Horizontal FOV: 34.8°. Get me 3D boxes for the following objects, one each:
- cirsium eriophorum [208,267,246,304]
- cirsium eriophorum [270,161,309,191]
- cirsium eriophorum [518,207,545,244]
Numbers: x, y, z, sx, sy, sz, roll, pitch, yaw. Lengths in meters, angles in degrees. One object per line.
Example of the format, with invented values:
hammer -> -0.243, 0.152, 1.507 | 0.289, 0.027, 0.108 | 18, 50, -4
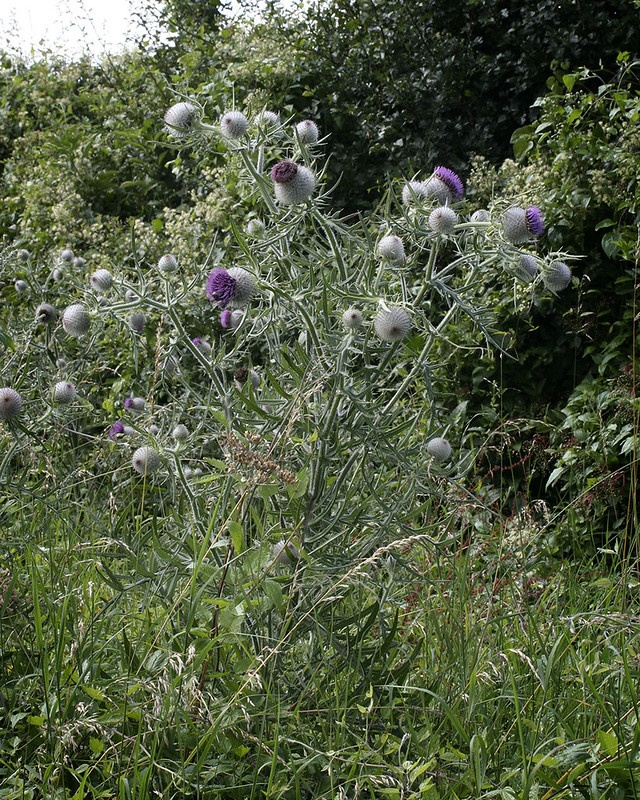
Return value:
cirsium eriophorum -> -0.225, -0.269, 2.399 | 0.095, 0.076, 0.058 | -3, 43, -37
cirsium eriophorum -> -0.079, -0.527, 2.350 | 0.072, 0.053, 0.061 | -10, 15, -1
cirsium eriophorum -> 0.520, -0.423, 2.462 | 0.046, 0.081, 0.087 | 16, 49, 37
